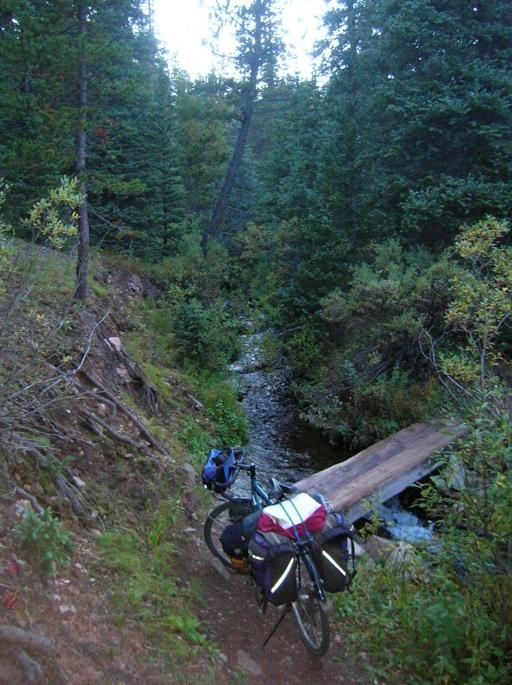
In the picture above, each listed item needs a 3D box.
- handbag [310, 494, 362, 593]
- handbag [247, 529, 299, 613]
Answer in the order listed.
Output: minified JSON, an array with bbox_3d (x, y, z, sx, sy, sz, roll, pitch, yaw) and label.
[{"bbox_3d":[0.681,1.837,4.773,0.412,0.648,0.568,10,8,9],"label":"handbag"},{"bbox_3d":[0.124,1.895,4.697,0.409,0.604,0.596,0,12,-9],"label":"handbag"}]
